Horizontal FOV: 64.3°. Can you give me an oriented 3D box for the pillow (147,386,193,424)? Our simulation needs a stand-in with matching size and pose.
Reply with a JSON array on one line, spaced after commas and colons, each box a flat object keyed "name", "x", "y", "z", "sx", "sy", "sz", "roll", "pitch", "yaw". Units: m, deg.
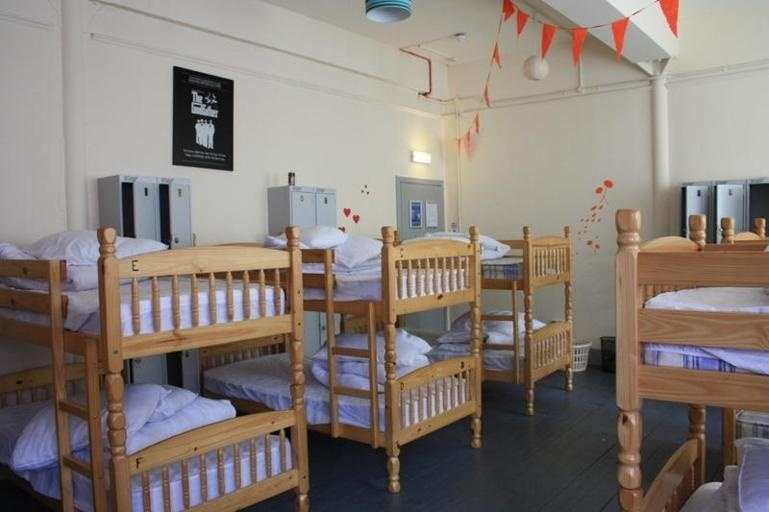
[{"name": "pillow", "x": -1.467, "y": 1.021, "z": 4.237, "sx": 0.191, "sy": 0.054, "sz": 0.176, "roll": 7, "pitch": 12, "yaw": 22}]
